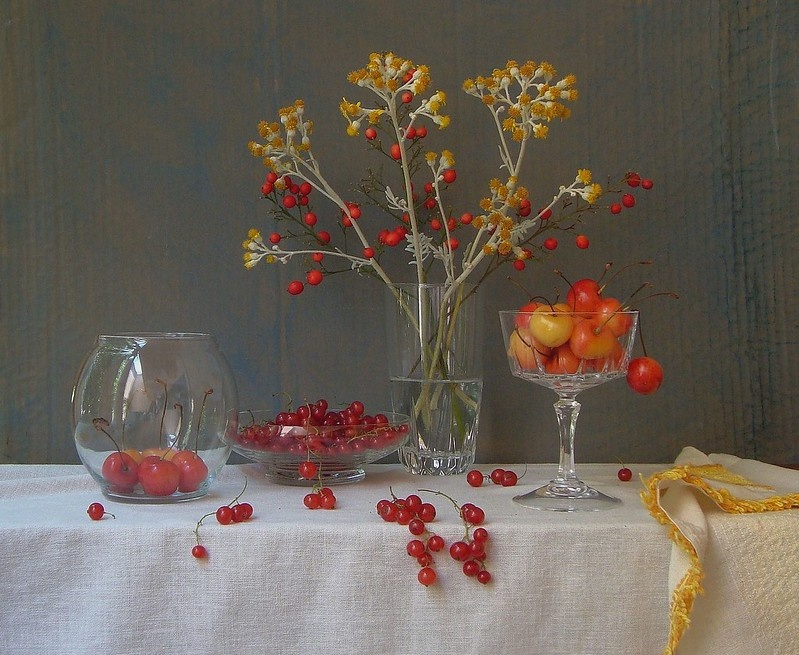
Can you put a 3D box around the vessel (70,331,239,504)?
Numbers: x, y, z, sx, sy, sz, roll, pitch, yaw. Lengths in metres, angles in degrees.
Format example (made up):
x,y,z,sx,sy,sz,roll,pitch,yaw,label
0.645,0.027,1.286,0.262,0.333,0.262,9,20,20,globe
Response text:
x,y,z,sx,sy,sz,roll,pitch,yaw,label
-0.408,0.154,1.837,0.267,0.275,0.279,0,-5,0,vessel

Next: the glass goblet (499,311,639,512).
x,y,z,sx,sy,sz,roll,pitch,yaw,label
0.311,0.136,1.899,0.209,0.347,0.238,1,3,30,glass goblet
